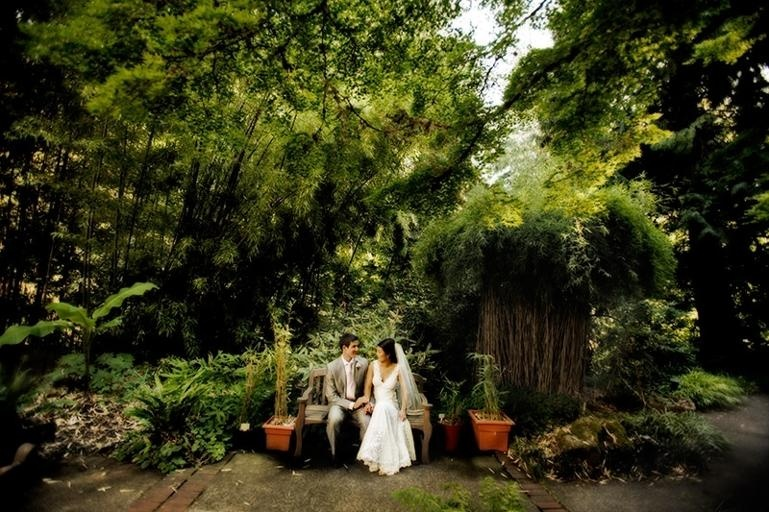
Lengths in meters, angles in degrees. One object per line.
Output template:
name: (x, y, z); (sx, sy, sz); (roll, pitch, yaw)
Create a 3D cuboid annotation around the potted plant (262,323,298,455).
potted plant: (-1.281, 1.622, 6.655); (0.393, 1.548, 0.814); (4, -20, -12)

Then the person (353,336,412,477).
person: (0.033, 1.825, 6.479); (0.679, 1.563, 0.389); (0, -18, 1)

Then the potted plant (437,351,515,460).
potted plant: (1.165, 1.941, 7.037); (0.885, 1.092, 1.341); (0, -8, 3)
